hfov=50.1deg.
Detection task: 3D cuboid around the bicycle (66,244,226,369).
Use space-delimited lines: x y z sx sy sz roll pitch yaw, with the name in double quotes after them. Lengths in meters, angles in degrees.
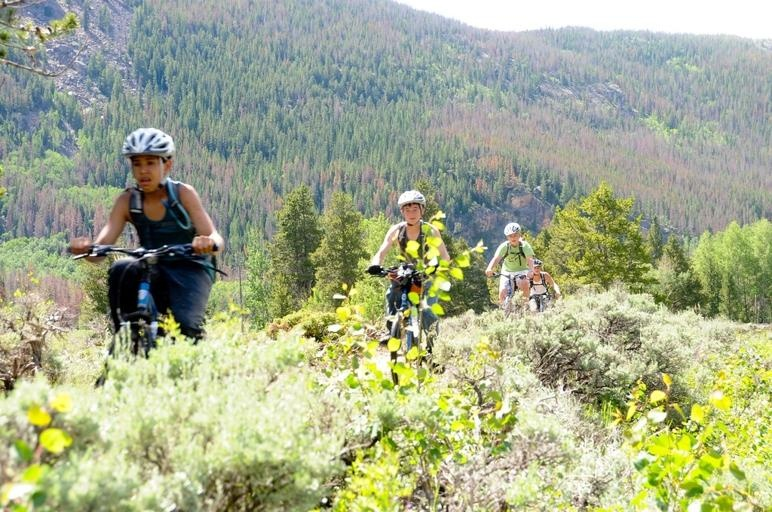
-2.701 0.507 9.603 1.400 1.235 1.676 4 23 -10 "bicycle"
